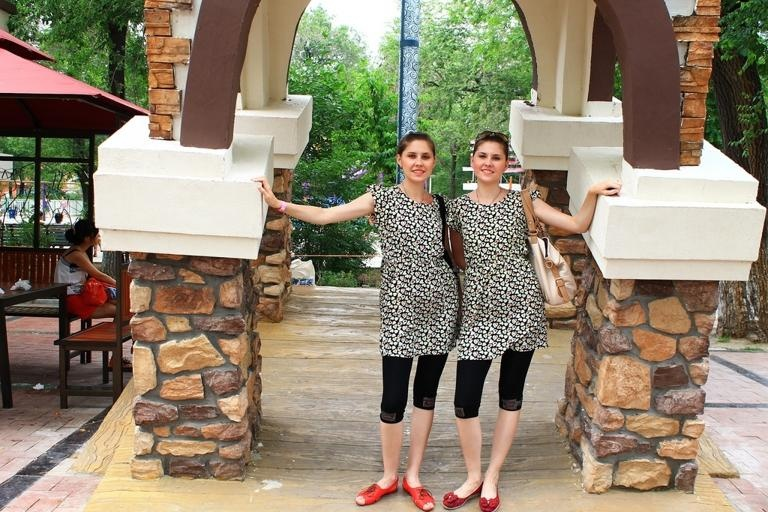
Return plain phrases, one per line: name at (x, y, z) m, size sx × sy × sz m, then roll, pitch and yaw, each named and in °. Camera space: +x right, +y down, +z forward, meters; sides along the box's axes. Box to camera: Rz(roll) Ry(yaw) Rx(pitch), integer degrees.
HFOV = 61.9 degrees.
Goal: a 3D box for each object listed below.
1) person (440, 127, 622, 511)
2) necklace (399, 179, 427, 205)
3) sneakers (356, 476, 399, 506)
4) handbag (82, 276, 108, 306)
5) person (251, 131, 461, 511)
person at (0.806, 0.457, 4.579) m, size 0.704 × 2.696 × 0.354 m, roll 1°, pitch 4°, yaw 5°
necklace at (0.210, -0.454, 4.568) m, size 0.184 × 0.178 × 0.107 m, roll 3°, pitch -8°, yaw -8°
sneakers at (-0.037, 1.704, 4.692) m, size 0.331 × 0.102 × 0.136 m, roll -9°, pitch 14°, yaw -29°
handbag at (-3.612, 0.433, 8.127) m, size 0.344 × 0.312 × 0.334 m, roll 17°, pitch 5°, yaw 5°
person at (0.037, 0.439, 4.633) m, size 1.036 × 2.686 × 0.378 m, roll 1°, pitch 4°, yaw 6°
